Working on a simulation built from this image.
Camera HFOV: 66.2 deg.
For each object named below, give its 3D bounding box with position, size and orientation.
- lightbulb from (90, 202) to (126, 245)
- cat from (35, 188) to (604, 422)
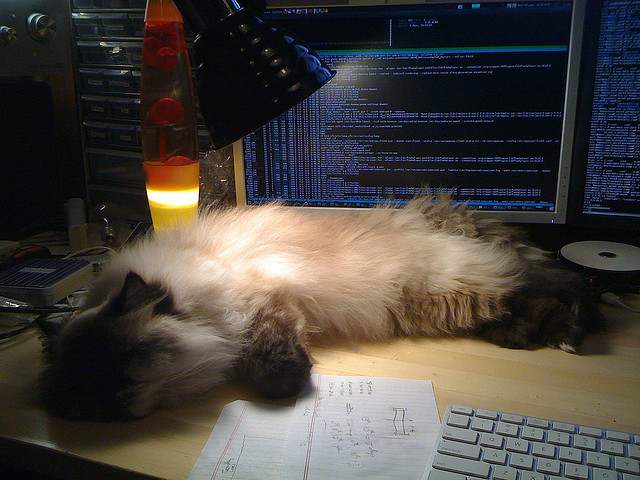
[{"bbox_3d":[-0.518,-0.044,1.194,0.086,0.049,0.139,-14,31,-23],"label":"lightbulb"},{"bbox_3d":[-0.053,0.027,0.768,0.583,0.149,0.439,-8,-16,-30],"label":"cat"}]
